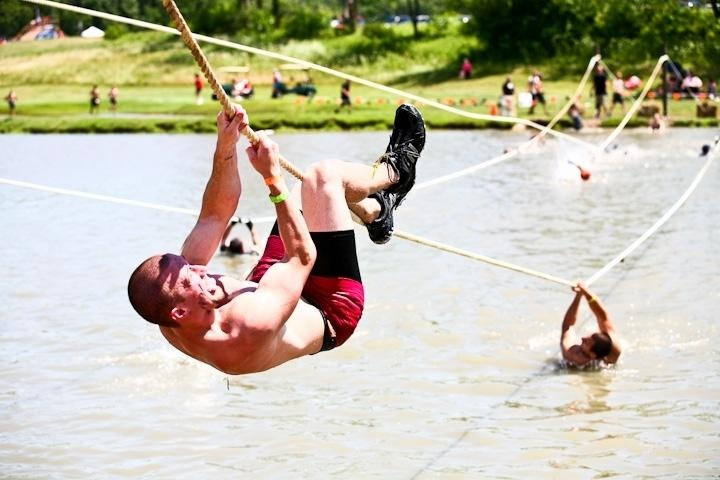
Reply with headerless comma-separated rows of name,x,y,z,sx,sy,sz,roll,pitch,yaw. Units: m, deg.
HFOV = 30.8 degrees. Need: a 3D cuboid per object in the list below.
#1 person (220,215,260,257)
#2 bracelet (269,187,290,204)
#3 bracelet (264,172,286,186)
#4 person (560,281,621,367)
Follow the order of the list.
person,-2.134,-0.111,23.424,0.577,0.372,0.929,-5,15,15
bracelet,-0.999,-0.538,15.492,0.251,0.215,0.143,7,22,23
bracelet,-1.019,-0.727,15.548,0.160,0.076,0.201,28,19,3
person,3.417,1.236,19.580,0.715,0.918,1.468,-32,15,11
